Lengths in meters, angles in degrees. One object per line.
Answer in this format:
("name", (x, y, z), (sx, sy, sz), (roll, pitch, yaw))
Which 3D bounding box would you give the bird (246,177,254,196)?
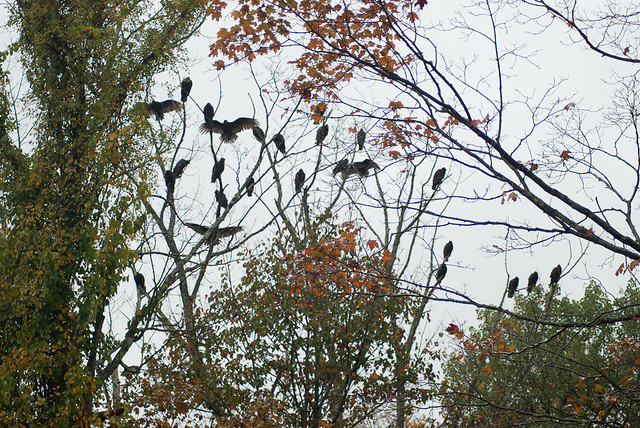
("bird", (-2.106, -0.771, 36.410), (0.188, 0.704, 0.462), (5, -40, 1))

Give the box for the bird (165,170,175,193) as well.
("bird", (-4.559, -1.047, 37.545), (0.242, 0.352, 0.840), (-1, -84, 9))

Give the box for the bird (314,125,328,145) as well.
("bird", (0.095, -2.500, 38.355), (0.254, 0.829, 0.356), (0, -37, 21))

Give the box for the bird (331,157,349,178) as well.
("bird", (0.630, -1.473, 36.954), (0.426, 1.039, 0.320), (16, -59, 23))
